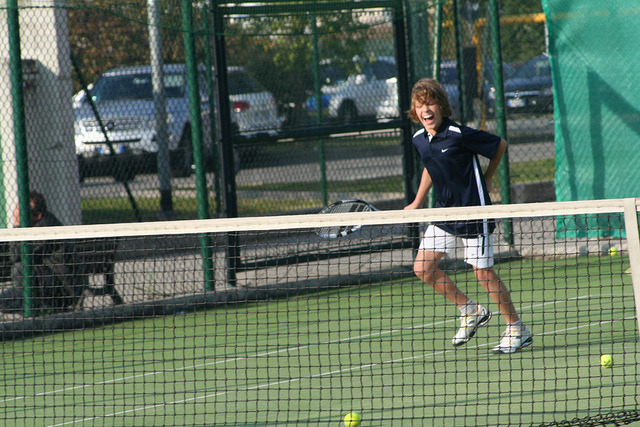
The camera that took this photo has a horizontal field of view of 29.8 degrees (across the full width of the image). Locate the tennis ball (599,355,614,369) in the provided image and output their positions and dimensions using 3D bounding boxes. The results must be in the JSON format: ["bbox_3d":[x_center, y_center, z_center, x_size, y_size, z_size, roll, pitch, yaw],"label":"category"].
[{"bbox_3d":[2.888,1.471,12.146,0.099,0.140,0.108,1,0,0],"label":"tennis ball"}]

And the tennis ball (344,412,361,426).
[{"bbox_3d":[0.302,1.930,11.446,0.103,0.142,0.111,4,-26,2],"label":"tennis ball"}]
